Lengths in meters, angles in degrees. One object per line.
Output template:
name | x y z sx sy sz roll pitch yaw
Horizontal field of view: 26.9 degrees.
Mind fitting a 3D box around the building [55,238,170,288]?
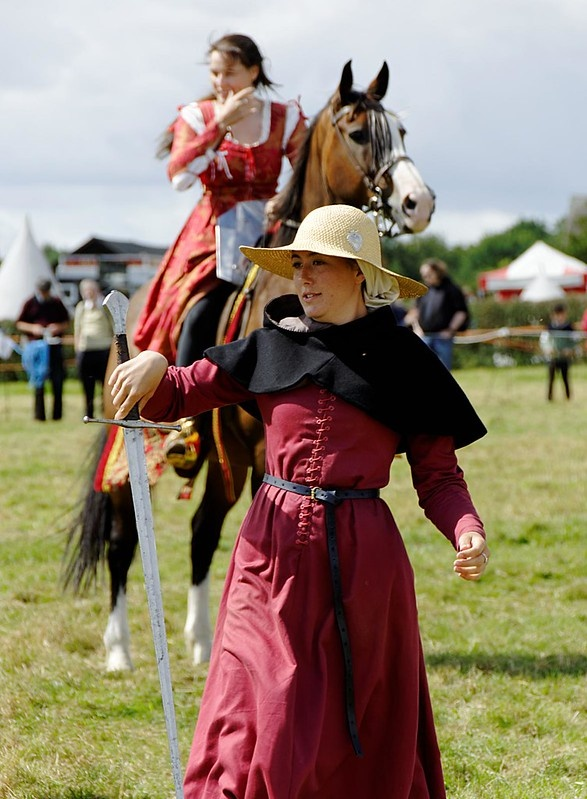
building | -8.317 -7.236 63.989 6.885 1.539 6.769 -11 13 -26

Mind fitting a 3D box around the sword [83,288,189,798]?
sword | -0.433 0.367 3.400 0.385 1.253 0.123 -6 -5 -6

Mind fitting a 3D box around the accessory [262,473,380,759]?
accessory | 0.114 0.559 3.299 0.426 0.582 0.339 1 -1 3

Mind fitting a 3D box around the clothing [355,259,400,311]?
clothing | 0.242 -0.321 3.483 0.114 0.132 0.040 19 59 21
